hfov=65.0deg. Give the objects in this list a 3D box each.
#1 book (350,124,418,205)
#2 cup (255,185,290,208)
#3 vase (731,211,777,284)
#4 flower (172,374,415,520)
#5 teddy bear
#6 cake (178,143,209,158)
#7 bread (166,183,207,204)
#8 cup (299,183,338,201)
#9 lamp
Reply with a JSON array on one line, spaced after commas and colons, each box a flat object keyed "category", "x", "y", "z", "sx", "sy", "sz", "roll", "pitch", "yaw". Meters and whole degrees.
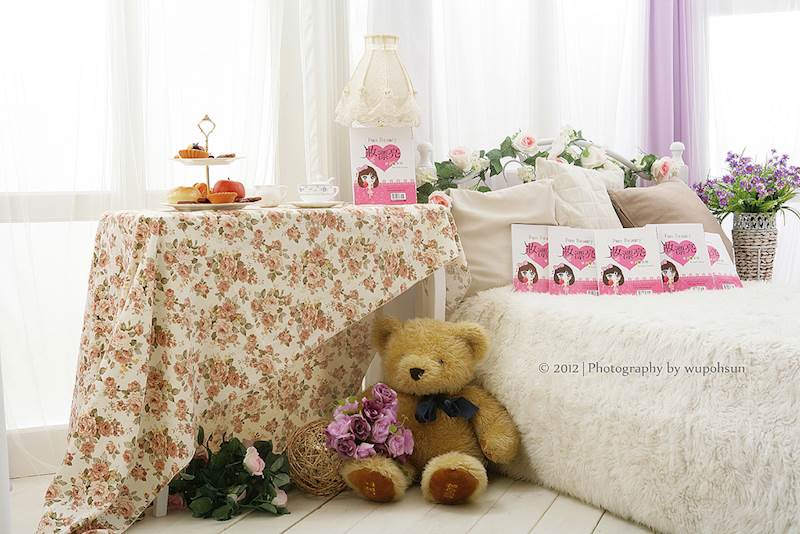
[{"category": "book", "x": -0.075, "y": -0.426, "z": 2.607, "sx": 0.338, "sy": 0.402, "sz": 0.044, "roll": 0, "pitch": -7, "yaw": -12}, {"category": "cup", "x": -0.498, "y": -0.278, "z": 2.453, "sx": 0.124, "sy": 0.086, "sz": 0.093, "roll": 1, "pitch": 0, "yaw": -21}, {"category": "vase", "x": 1.691, "y": -0.095, "z": 3.013, "sx": 0.227, "sy": 0.306, "sz": 0.229, "roll": -2, "pitch": 2, "yaw": -8}, {"category": "flower", "x": -0.385, "y": 0.590, "z": 2.215, "sx": 0.657, "sy": 0.329, "sz": 0.424, "roll": -13, "pitch": 15, "yaw": -27}, {"category": "teddy bear", "x": 0.097, "y": 0.513, "z": 2.337, "sx": 0.622, "sy": 0.665, "sz": 0.464, "roll": -4, "pitch": -4, "yaw": 17}, {"category": "cake", "x": -0.761, "y": -0.426, "z": 2.310, "sx": 0.106, "sy": 0.063, "sz": 0.117, "roll": -8, "pitch": 8, "yaw": -15}, {"category": "bread", "x": -0.772, "y": -0.248, "z": 2.261, "sx": 0.099, "sy": 0.049, "sz": 0.101, "roll": 1, "pitch": 3, "yaw": 26}, {"category": "cup", "x": -0.320, "y": -0.271, "z": 2.419, "sx": 0.082, "sy": 0.049, "sz": 0.107, "roll": -3, "pitch": -4, "yaw": 43}, {"category": "lamp", "x": -0.098, "y": -0.819, "z": 2.685, "sx": 0.357, "sy": 0.340, "sz": 0.344, "roll": -10, "pitch": 24, "yaw": -26}]
